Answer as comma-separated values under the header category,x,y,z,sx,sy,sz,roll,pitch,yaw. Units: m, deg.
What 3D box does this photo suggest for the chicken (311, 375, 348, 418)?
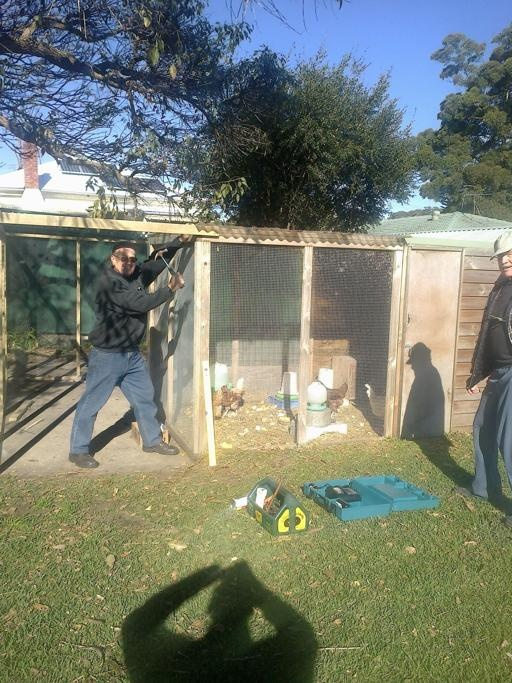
category,x,y,z,sx,sy,sz,roll,pitch,yaw
chicken,1.052,0.757,7.390,0.438,0.380,0.472,2,4,14

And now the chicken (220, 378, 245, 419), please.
category,x,y,z,sx,sy,sz,roll,pitch,yaw
chicken,-0.329,0.795,7.043,0.123,0.378,0.295,4,3,39

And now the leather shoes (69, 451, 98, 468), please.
category,x,y,z,sx,sy,sz,roll,pitch,yaw
leather shoes,-1.620,1.102,4.908,0.260,0.098,0.117,-1,-1,22

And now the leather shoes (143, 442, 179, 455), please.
category,x,y,z,sx,sy,sz,roll,pitch,yaw
leather shoes,-0.973,1.089,5.437,0.368,0.165,0.140,-1,10,2

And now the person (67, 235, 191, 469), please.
category,x,y,z,sx,sy,sz,roll,pitch,yaw
person,-1.262,0.071,5.216,1.064,2.200,1.003,1,4,-7
